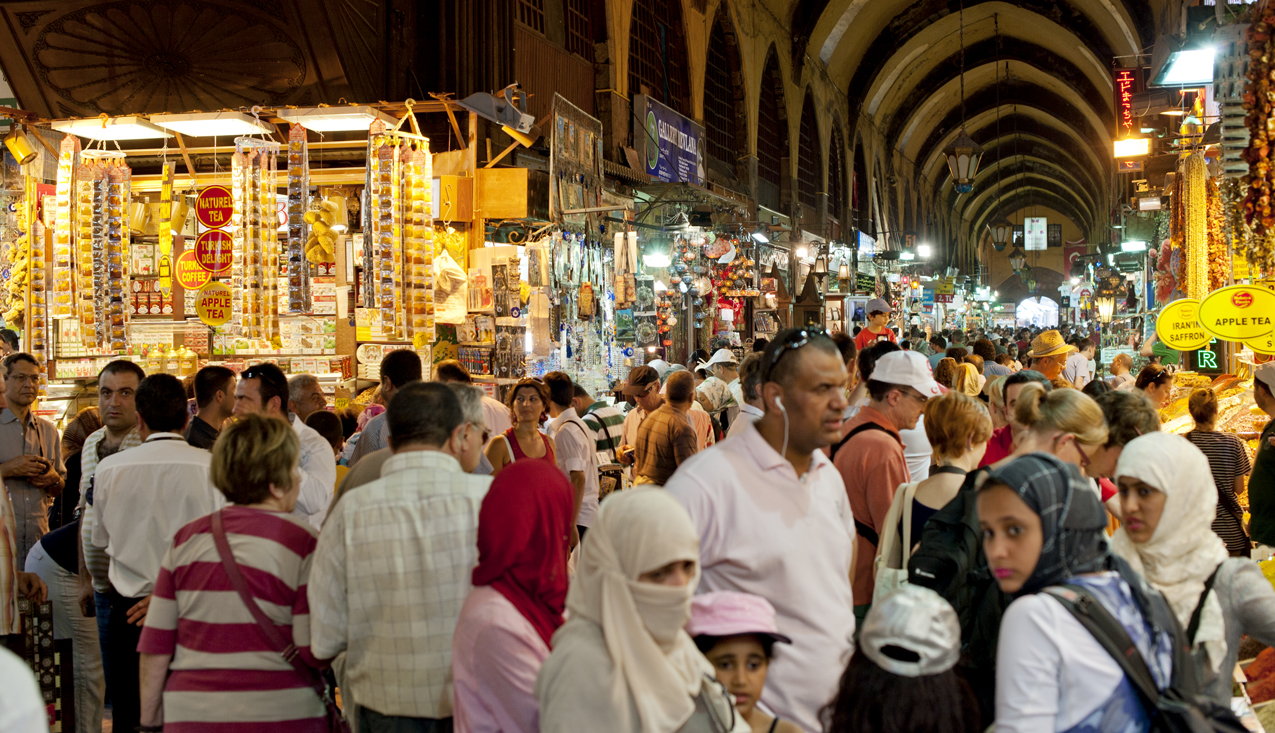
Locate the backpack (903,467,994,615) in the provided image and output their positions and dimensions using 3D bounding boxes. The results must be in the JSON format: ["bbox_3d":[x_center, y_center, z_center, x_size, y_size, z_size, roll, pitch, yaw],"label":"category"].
[{"bbox_3d":[1.682,0.978,6.093,0.349,0.632,0.566,11,-27,7],"label":"backpack"}]

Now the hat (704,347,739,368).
[{"bbox_3d":[0.940,-0.108,13.090,0.247,0.153,0.305,2,-13,-25],"label":"hat"}]

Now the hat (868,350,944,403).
[{"bbox_3d":[1.771,0.069,7.523,0.433,0.209,0.291,8,15,-9],"label":"hat"}]

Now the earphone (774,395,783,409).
[{"bbox_3d":[0.729,0.188,5.841,0.051,0.078,0.016,0,-4,5],"label":"earphone"}]

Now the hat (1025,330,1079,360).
[{"bbox_3d":[4.527,-0.253,12.290,0.356,0.149,0.412,-2,9,40],"label":"hat"}]
